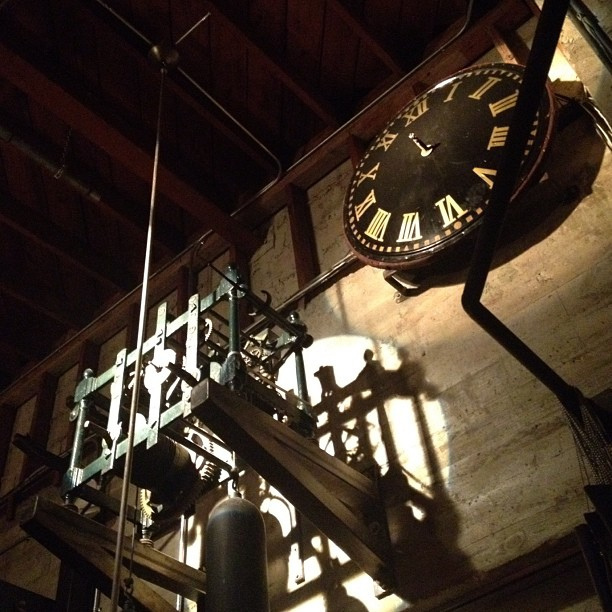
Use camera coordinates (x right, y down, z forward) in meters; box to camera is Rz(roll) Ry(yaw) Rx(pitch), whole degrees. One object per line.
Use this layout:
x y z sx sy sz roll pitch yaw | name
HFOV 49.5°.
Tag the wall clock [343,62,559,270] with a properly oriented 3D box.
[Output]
0.746 -0.839 3.940 1.269 1.389 0.200 -27 -40 28 | wall clock
